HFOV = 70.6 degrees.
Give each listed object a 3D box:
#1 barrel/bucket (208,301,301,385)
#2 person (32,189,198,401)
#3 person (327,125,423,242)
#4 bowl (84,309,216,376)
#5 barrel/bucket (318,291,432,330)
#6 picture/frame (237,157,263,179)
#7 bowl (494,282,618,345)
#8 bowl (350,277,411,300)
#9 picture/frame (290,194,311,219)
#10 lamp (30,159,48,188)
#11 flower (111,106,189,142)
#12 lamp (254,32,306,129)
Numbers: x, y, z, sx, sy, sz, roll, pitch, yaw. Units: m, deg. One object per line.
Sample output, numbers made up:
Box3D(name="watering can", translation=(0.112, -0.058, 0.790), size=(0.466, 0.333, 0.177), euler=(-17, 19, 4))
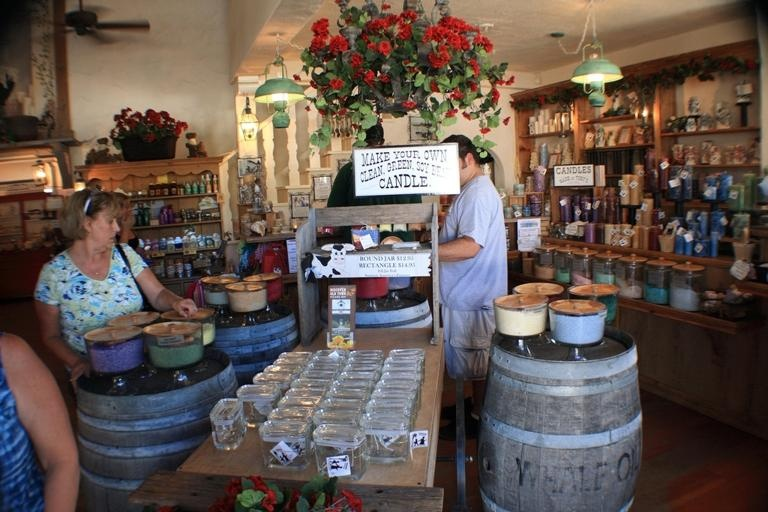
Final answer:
Box3D(name="barrel/bucket", translation=(-0.745, 0.514, 3.279), size=(0.491, 0.394, 0.455), euler=(-1, 1, 0))
Box3D(name="person", translation=(-1.622, 0.352, 3.278), size=(0.888, 1.328, 0.624), euler=(-3, 18, -14))
Box3D(name="person", translation=(-0.111, -0.544, 4.387), size=(0.834, 0.994, 0.549), euler=(3, 8, -27))
Box3D(name="bowl", translation=(-1.207, 0.442, 2.766), size=(0.402, 0.118, 0.388), euler=(1, 7, 0))
Box3D(name="barrel/bucket", translation=(0.047, 0.361, 3.540), size=(0.550, 0.244, 0.295), euler=(-6, 11, -16))
Box3D(name="picture/frame", translation=(-1.668, -1.096, 6.658), size=(0.435, 0.259, 0.215), euler=(0, 0, -7))
Box3D(name="bowl", translation=(0.872, 0.298, 2.838), size=(0.475, 0.152, 0.279), euler=(2, 8, 29))
Box3D(name="bowl", translation=(-0.014, 0.200, 3.527), size=(0.270, 0.084, 0.160), euler=(-3, 2, -23))
Box3D(name="picture/frame", translation=(-0.967, -0.579, 6.138), size=(0.240, 0.295, 0.128), euler=(-10, 13, -31))
Box3D(name="lamp", translation=(-5.643, -1.345, 8.789), size=(0.290, 0.449, 0.120), euler=(1, 13, 23))
Box3D(name="flower", translation=(-3.180, -1.706, 7.196), size=(0.846, 0.388, 0.693), euler=(-11, 9, -6))
Box3D(name="lamp", translation=(-0.881, -1.497, 4.580), size=(0.478, 0.723, 0.453), euler=(-5, 11, -17))
